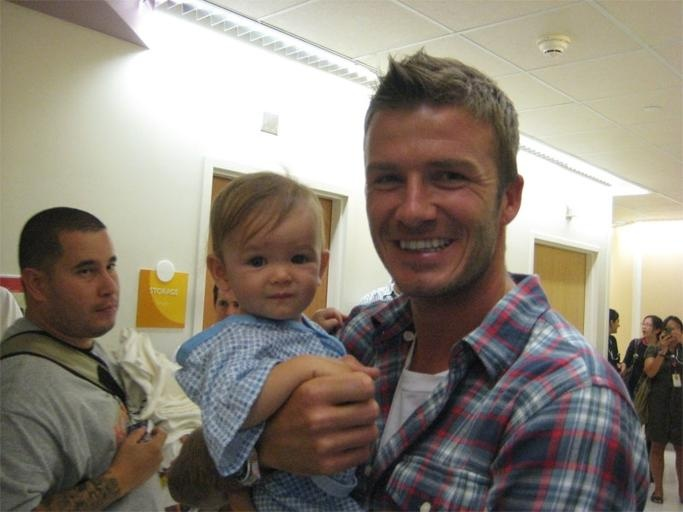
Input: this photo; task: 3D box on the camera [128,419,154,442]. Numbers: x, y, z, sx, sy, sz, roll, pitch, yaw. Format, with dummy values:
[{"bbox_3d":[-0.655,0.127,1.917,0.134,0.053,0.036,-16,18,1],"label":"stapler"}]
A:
[{"bbox_3d":[-0.618,0.531,1.685,0.050,0.033,0.052,14,20,-1],"label":"camera"}]
